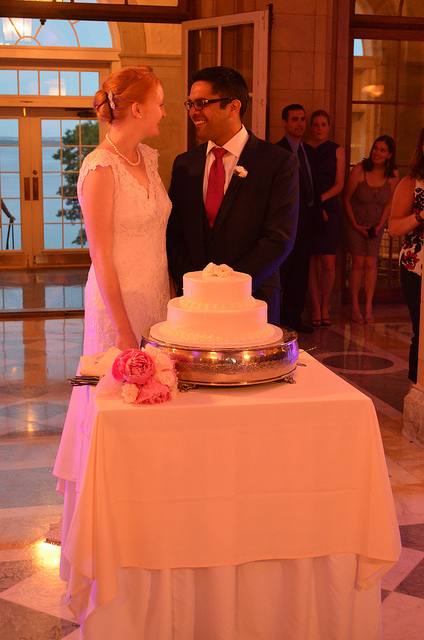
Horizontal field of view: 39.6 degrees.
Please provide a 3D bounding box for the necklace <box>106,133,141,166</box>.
[{"bbox_3d":[-0.296,-0.569,1.972,0.113,0.099,0.224,-3,15,-8],"label":"necklace"}]

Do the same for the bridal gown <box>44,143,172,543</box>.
[{"bbox_3d":[-0.362,0.046,2.264,0.455,1.496,0.512,12,31,6],"label":"bridal gown"}]

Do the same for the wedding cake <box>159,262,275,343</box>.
[{"bbox_3d":[0.012,-0.049,1.406,0.277,0.160,0.272,-4,12,-22],"label":"wedding cake"}]
